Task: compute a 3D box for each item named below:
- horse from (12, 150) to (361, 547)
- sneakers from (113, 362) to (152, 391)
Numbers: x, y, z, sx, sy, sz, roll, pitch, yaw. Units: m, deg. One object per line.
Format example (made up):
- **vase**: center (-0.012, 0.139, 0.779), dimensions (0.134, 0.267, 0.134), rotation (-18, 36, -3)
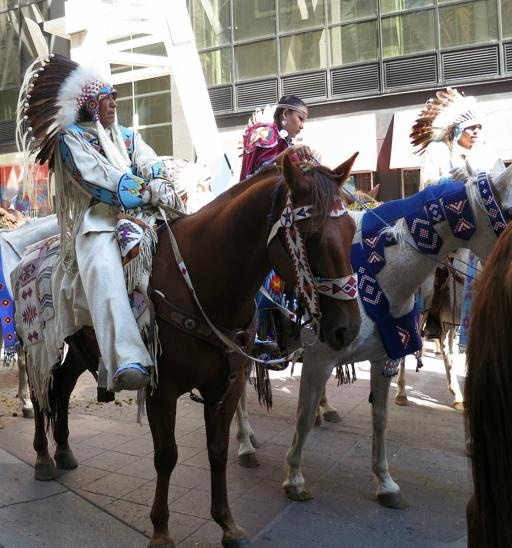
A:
- **horse**: center (-0.048, 0.419, 2.659), dimensions (1.129, 1.958, 0.440), rotation (0, 1, 27)
- **sneakers**: center (-0.570, 0.466, 2.546), dimensions (0.139, 0.071, 0.156), rotation (0, -36, -2)
